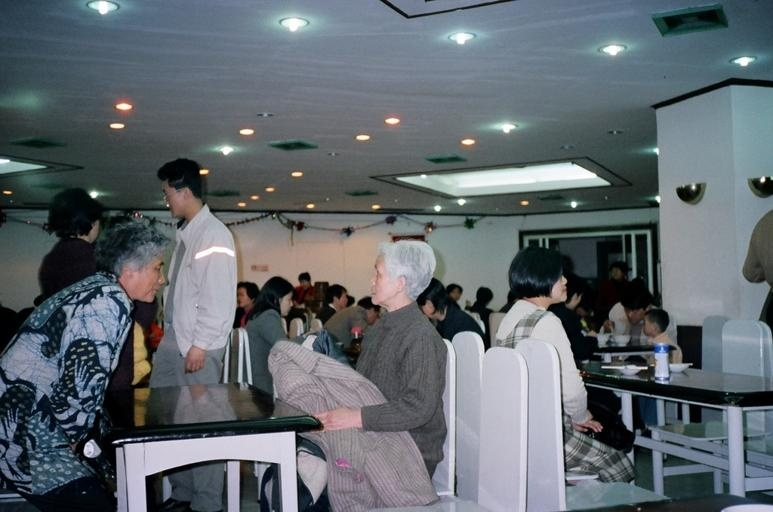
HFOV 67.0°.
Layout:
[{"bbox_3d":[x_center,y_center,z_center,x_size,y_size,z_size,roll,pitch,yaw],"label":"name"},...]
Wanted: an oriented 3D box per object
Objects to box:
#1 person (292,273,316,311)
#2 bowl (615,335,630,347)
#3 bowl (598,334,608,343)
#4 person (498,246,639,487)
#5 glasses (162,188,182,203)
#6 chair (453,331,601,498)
[{"bbox_3d":[-1.660,0.708,11.998,0.552,0.705,0.446,7,12,30],"label":"person"},{"bbox_3d":[2.619,0.936,6.460,0.148,0.088,0.142,3,-9,0],"label":"bowl"},{"bbox_3d":[2.418,0.924,6.555,0.091,0.068,0.096,0,-7,0],"label":"bowl"},{"bbox_3d":[1.041,0.656,3.343,0.874,1.332,0.720,8,-8,-32],"label":"person"},{"bbox_3d":[-1.350,-0.384,3.703,0.091,0.090,0.029,6,-1,31],"label":"glasses"},{"bbox_3d":[0.616,0.900,2.695,0.569,1.019,0.547,2,-6,-1],"label":"chair"}]
